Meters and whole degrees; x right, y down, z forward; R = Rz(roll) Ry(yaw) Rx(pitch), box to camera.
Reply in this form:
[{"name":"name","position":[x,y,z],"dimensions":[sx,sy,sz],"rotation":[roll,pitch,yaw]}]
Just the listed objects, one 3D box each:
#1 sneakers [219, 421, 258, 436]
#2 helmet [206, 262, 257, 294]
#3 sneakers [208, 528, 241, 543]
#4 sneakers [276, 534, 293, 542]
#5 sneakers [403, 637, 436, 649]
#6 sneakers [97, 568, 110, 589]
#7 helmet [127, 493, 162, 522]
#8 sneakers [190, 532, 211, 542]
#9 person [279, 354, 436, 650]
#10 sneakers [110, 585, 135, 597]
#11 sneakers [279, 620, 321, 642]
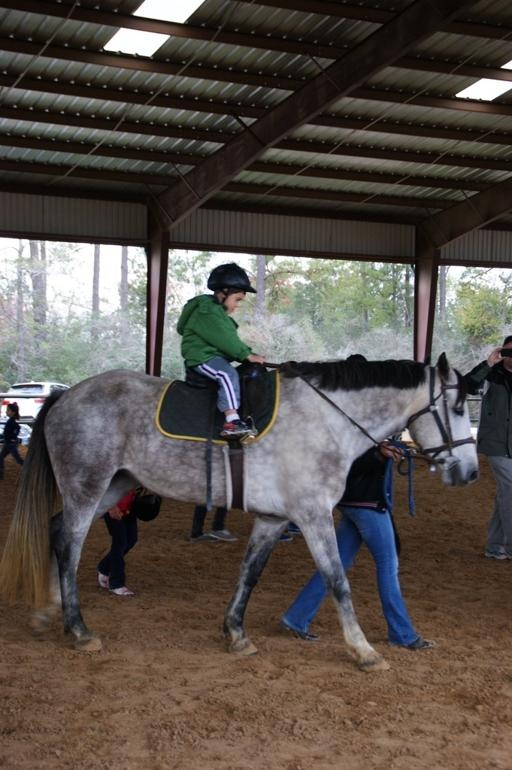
[{"name":"sneakers","position":[-0.081,0.215,3.005],"dimensions":[0.165,0.090,0.170],"rotation":[2,-5,-6]},{"name":"helmet","position":[-0.129,-0.587,3.498],"dimensions":[0.268,0.159,0.202],"rotation":[-2,-4,22]},{"name":"sneakers","position":[-0.322,1.565,6.386],"dimensions":[0.306,0.130,0.109],"rotation":[9,-15,11]},{"name":"sneakers","position":[0.323,1.622,6.522],"dimensions":[0.087,0.098,0.230],"rotation":[2,-7,-9]},{"name":"sneakers","position":[0.873,1.374,3.316],"dimensions":[0.175,0.069,0.061],"rotation":[-4,-5,-10]},{"name":"sneakers","position":[-1.115,1.444,4.519],"dimensions":[0.069,0.081,0.194],"rotation":[6,-32,-4]},{"name":"helmet","position":[-0.747,0.850,4.265],"dimensions":[0.249,0.200,0.195],"rotation":[4,-1,-5]},{"name":"sneakers","position":[-0.569,1.580,6.376],"dimensions":[0.187,0.074,0.067],"rotation":[-4,-7,11]},{"name":"person","position":[0.550,0.814,3.758],"dimensions":[1.184,1.921,0.688],"rotation":[-1,0,-7]},{"name":"sneakers","position":[-0.929,1.443,4.298],"dimensions":[0.161,0.063,0.059],"rotation":[-10,-16,30]},{"name":"sneakers","position":[0.255,1.388,3.505],"dimensions":[0.237,0.095,0.081],"rotation":[9,-10,32]}]
